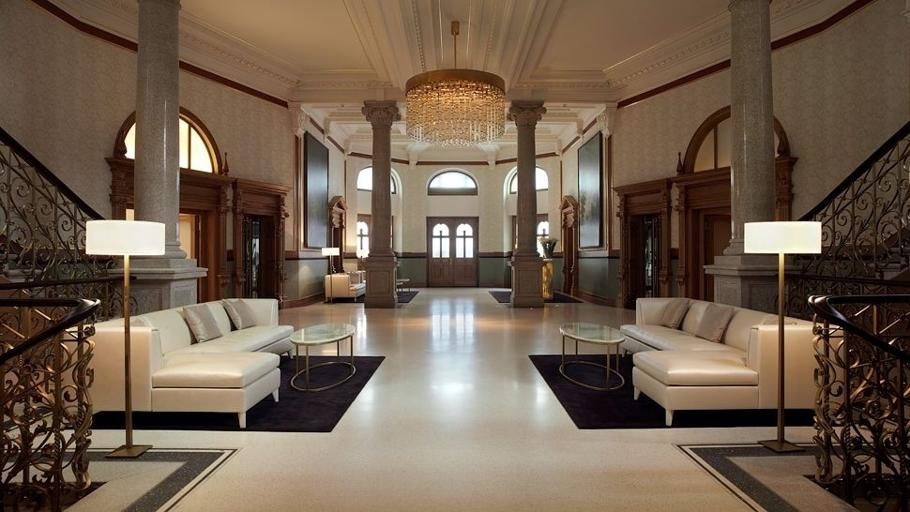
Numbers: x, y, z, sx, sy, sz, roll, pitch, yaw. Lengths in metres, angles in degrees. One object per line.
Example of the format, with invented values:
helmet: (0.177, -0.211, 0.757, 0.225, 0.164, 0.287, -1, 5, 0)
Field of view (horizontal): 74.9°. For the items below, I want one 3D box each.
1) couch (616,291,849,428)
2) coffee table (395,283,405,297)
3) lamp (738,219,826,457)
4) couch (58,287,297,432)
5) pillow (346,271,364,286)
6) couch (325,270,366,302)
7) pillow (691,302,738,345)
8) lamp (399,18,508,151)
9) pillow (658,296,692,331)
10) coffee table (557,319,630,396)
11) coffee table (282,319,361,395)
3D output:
couch: (3.854, 1.394, 9.643, 2.236, 1.120, 3.378, -1, 5, 2)
coffee table: (-1.893, 1.120, 20.379, 0.420, 0.448, 0.724, -2, 1, 1)
lamp: (4.526, 1.019, 8.215, 1.337, 2.994, 0.872, -6, 8, -40)
couch: (-3.882, 1.504, 9.819, 2.464, 1.167, 3.675, 0, 5, 2)
pillow: (-3.005, 0.651, 17.791, 0.391, 0.409, 0.645, -1, 0, 3)
couch: (-3.177, 0.900, 17.112, 0.937, 0.816, 1.234, -1, 6, -1)
pillow: (4.174, 1.064, 9.481, 0.176, 0.537, 0.571, 21, 6, -24)
lamp: (-0.029, -3.148, 12.138, 1.845, 1.787, 1.763, 0, -4, 0)
pillow: (3.789, 0.981, 10.206, 0.155, 0.466, 0.491, 23, -8, -17)
coffee table: (2.377, 1.598, 10.368, 1.094, 0.857, 1.898, 3, -1, -1)
coffee table: (-2.202, 1.641, 9.951, 1.034, 0.748, 1.659, 1, 4, 6)
